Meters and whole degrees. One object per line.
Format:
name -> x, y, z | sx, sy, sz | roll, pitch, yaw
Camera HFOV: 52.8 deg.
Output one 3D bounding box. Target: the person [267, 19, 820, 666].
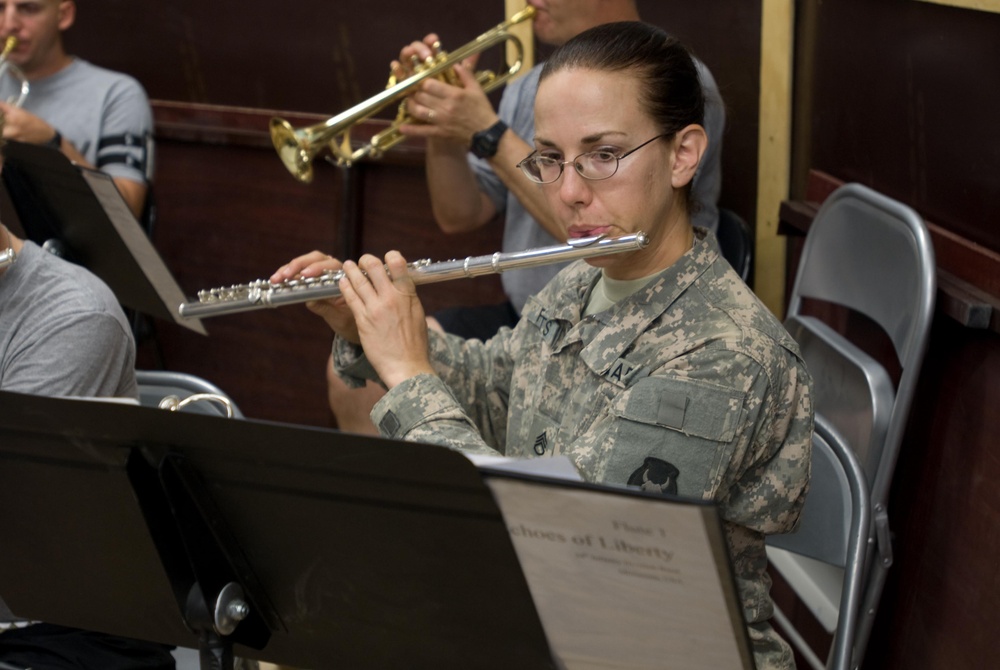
person -> 0.303, 0.012, 2.317 | 0.547, 1.376, 0.857 | -10, 22, -25
